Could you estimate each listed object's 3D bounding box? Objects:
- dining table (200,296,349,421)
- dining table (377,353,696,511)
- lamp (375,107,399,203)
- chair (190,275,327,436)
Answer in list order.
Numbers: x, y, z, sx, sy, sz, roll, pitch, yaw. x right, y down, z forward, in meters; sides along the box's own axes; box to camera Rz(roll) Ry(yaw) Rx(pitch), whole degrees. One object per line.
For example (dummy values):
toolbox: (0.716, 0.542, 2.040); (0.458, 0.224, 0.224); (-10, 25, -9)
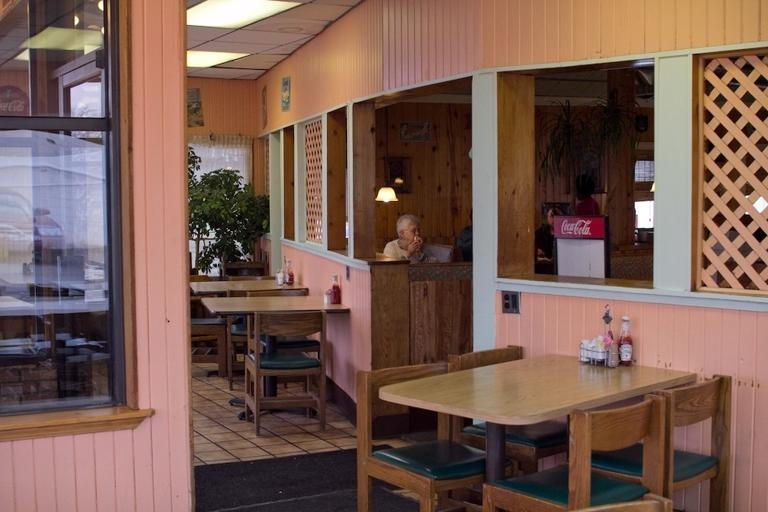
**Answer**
dining table: (-0.993, 0.975, 6.972); (1.154, 0.679, 1.130); (0, 2, -12)
dining table: (0.822, 0.755, 4.213); (0.740, 0.620, 1.289); (2, 4, 44)
lamp: (0.049, -1.189, 9.522); (0.319, 1.031, 0.480); (0, 5, 2)
chair: (-0.942, 0.882, 6.759); (1.202, 0.997, 1.166); (0, 1, -19)
